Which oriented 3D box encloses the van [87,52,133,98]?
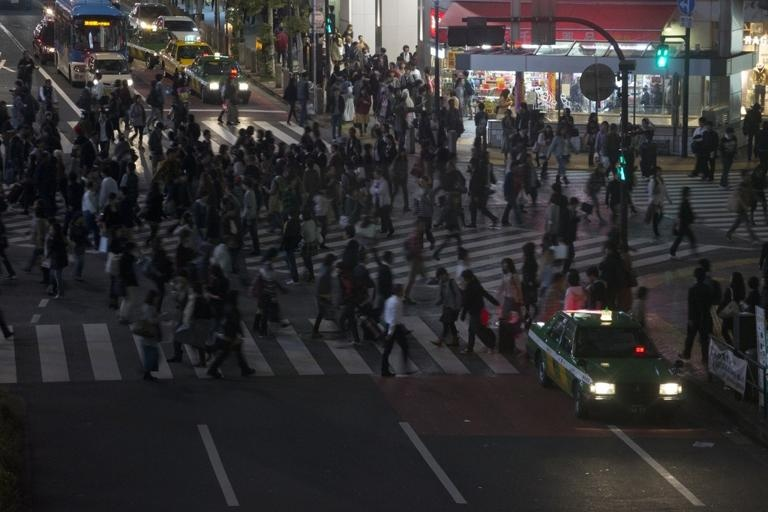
[{"bbox_3d":[-14.087,-9.473,48.617,2.415,2.638,4.577,-3,10,-17],"label":"van"}]

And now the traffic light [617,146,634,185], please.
[{"bbox_3d":[6.615,-2.422,25.703,0.305,1.080,0.641,-3,42,12],"label":"traffic light"}]

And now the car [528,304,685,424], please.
[{"bbox_3d":[4.489,2.334,19.522,1.888,1.715,3.389,-10,20,-35],"label":"car"}]
